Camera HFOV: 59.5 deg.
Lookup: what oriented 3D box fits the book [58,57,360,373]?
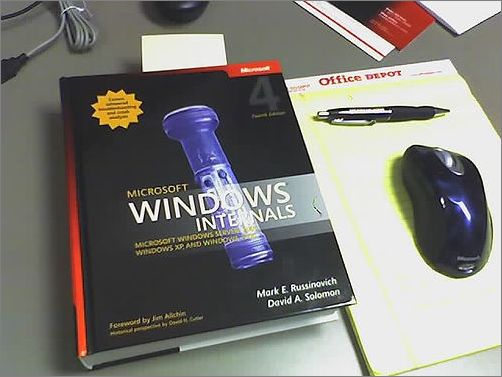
[{"bbox_3d":[-0.078,-0.003,0.620,0.356,0.052,0.408,-11,77,-7],"label":"book"}]

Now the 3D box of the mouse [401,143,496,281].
[{"bbox_3d":[0.292,0.036,0.699,0.113,0.064,0.196,0,64,-13],"label":"mouse"}]
